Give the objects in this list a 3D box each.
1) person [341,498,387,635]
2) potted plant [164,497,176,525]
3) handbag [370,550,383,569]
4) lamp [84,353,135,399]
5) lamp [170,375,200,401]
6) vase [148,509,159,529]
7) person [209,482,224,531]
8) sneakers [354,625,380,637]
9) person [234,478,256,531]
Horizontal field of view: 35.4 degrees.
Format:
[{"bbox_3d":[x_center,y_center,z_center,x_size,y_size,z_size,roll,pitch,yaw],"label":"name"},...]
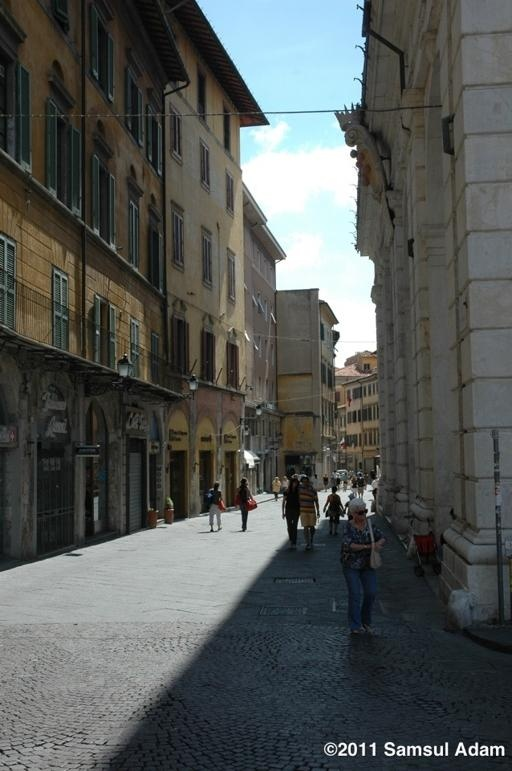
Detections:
[{"bbox_3d":[1.088,1.840,8.160,0.420,1.335,0.545,-1,-4,6],"label":"person"},{"bbox_3d":[-3.008,4.357,27.499,0.317,0.903,1.139,0,-6,-10],"label":"potted plant"},{"bbox_3d":[1.214,1.779,8.110,0.095,0.205,0.346,-2,-6,13],"label":"handbag"},{"bbox_3d":[-3.501,-0.146,19.339,0.910,0.808,0.871,-3,-6,8],"label":"lamp"},{"bbox_3d":[-2.749,0.217,30.284,0.744,1.466,0.916,-9,-9,39],"label":"lamp"},{"bbox_3d":[-3.301,4.326,25.744,0.328,0.758,0.417,-1,0,-3],"label":"vase"},{"bbox_3d":[-1.271,3.746,24.814,0.418,1.702,0.495,-2,19,-7],"label":"person"},{"bbox_3d":[1.101,2.480,8.001,0.109,0.078,0.193,-6,-16,36],"label":"sneakers"},{"bbox_3d":[-0.304,3.638,24.665,0.490,1.768,0.483,0,19,5],"label":"person"}]
